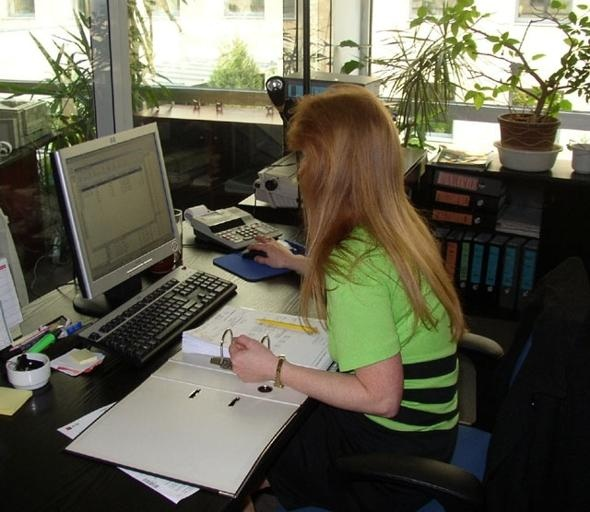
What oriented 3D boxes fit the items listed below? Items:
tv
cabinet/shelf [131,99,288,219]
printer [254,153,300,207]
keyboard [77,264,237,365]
[{"bbox_3d":[-0.511,-0.108,1.370,0.155,0.495,0.545,13,27,20],"label":"tv"},{"bbox_3d":[-0.603,-0.501,3.456,1.311,0.734,0.641,-6,14,-31],"label":"cabinet/shelf"},{"bbox_3d":[-0.061,-0.345,2.319,0.212,0.239,0.282,21,30,23],"label":"printer"},{"bbox_3d":[-0.378,0.150,1.373,0.199,0.041,0.408,22,34,19],"label":"keyboard"}]
